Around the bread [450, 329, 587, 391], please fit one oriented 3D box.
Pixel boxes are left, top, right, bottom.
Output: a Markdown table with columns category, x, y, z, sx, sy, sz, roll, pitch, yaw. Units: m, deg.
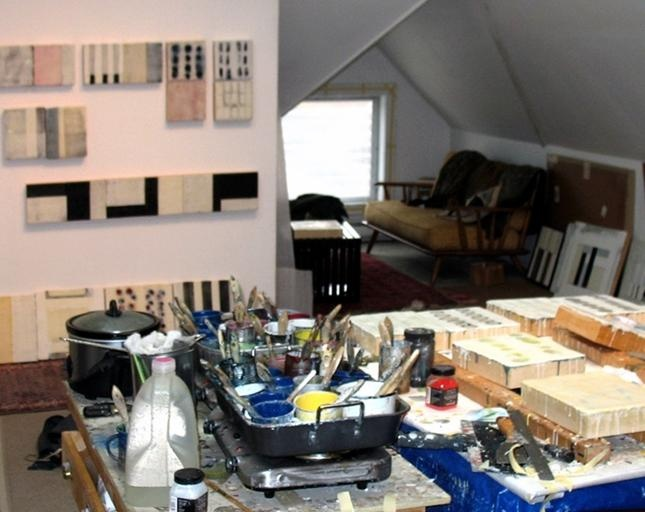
| category | x | y | z | sx | sy | sz | roll | pitch | yaw |
| --- | --- | --- | --- | --- | --- | --- | --- | --- | --- |
| bread | 0.586 | 0.306 | 1.875 | 0.221 | 0.048 | 0.210 | -7 | 13 | -24 |

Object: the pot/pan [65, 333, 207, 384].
| category | x | y | z | sx | sy | sz | roll | pitch | yaw |
| --- | --- | --- | --- | --- | --- | --- | --- | --- | --- |
| pot/pan | -0.464 | 0.261 | 1.562 | 0.320 | 0.116 | 0.177 | -3 | 14 | -14 |

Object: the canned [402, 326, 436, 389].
| category | x | y | z | sx | sy | sz | roll | pitch | yaw |
| --- | --- | --- | --- | --- | --- | --- | --- | --- | --- |
| canned | 0.300 | 0.324 | 1.890 | 0.111 | 0.167 | 0.106 | -1 | -1 | 31 |

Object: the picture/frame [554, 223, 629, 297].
| category | x | y | z | sx | sy | sz | roll | pitch | yaw |
| --- | --- | --- | --- | --- | --- | --- | --- | --- | --- |
| picture/frame | 2.302 | 0.052 | 5.199 | 0.050 | 0.627 | 0.649 | 18 | -3 | -27 |

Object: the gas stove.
| category | x | y | z | sx | sy | sz | roll | pitch | yaw |
| --- | --- | --- | --- | --- | --- | --- | --- | --- | --- |
| gas stove | -0.075 | 0.438 | 1.524 | 0.420 | 0.117 | 0.529 | 2 | 7 | -28 |

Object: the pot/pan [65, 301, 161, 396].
| category | x | y | z | sx | sy | sz | roll | pitch | yaw |
| --- | --- | --- | --- | --- | --- | --- | --- | --- | --- |
| pot/pan | -0.608 | 0.273 | 1.798 | 0.254 | 0.227 | 0.238 | 3 | 12 | -7 |

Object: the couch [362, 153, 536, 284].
| category | x | y | z | sx | sy | sz | roll | pitch | yaw |
| --- | --- | --- | --- | --- | --- | --- | --- | --- | --- |
| couch | 1.306 | -0.427 | 6.497 | 1.226 | 1.122 | 1.973 | -6 | 15 | -12 |

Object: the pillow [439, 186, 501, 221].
| category | x | y | z | sx | sy | sz | roll | pitch | yaw |
| --- | --- | --- | --- | --- | --- | --- | --- | --- | --- |
| pillow | 1.459 | -0.487 | 5.837 | 0.535 | 0.358 | 0.671 | -1 | 9 | 0 |
